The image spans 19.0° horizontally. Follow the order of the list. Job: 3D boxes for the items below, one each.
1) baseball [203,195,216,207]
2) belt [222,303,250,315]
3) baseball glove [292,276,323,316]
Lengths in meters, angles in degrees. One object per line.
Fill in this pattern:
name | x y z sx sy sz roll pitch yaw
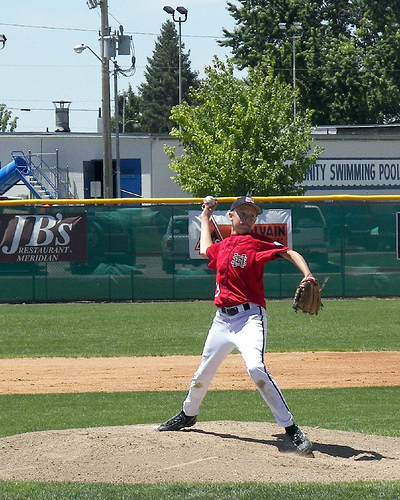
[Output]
baseball | 0.085 -0.490 11.519 0.090 0.120 0.093 -8 25 -29
belt | 0.322 0.535 10.982 0.264 0.108 0.051 -1 2 16
baseball glove | 0.968 0.406 10.859 0.238 0.372 0.359 -1 2 10
